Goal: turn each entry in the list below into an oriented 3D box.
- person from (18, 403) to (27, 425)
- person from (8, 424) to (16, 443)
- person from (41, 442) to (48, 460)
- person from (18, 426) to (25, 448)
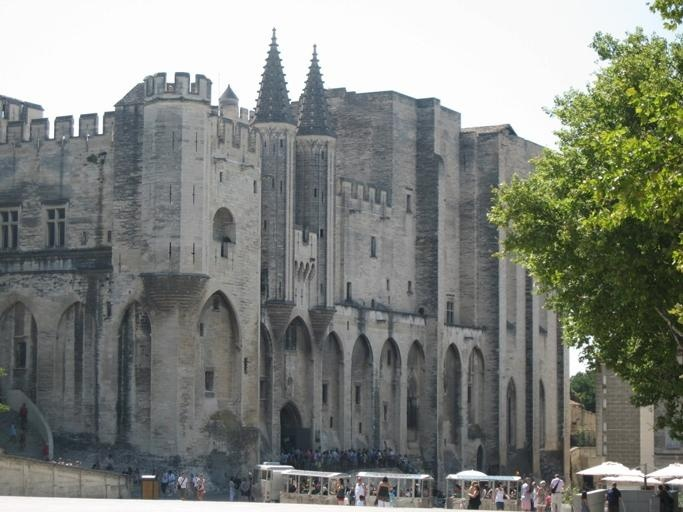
[{"bbox_3d":[-17.190,8.587,105.529,0.443,1.452,0.950,2,-14,-10],"label":"person"},{"bbox_3d":[-17.616,9.419,104.492,0.316,0.957,0.802,2,-14,-12],"label":"person"},{"bbox_3d":[-15.835,10.424,104.450,0.365,1.043,1.113,1,-14,-9],"label":"person"},{"bbox_3d":[-17.079,9.728,104.708,0.391,1.307,1.101,2,-14,-10],"label":"person"}]
